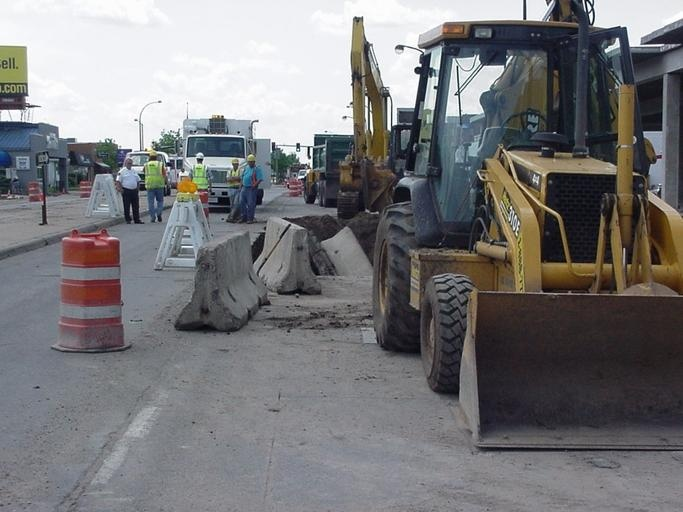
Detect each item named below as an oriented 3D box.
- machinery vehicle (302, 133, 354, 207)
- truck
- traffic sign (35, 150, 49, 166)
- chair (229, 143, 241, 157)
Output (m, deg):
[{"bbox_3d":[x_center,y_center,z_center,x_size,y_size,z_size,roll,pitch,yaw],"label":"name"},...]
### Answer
[{"bbox_3d":[-0.539,-5.042,36.570,2.593,4.112,7.377,-1,8,-12],"label":"machinery vehicle"},{"bbox_3d":[-6.391,-4.313,32.746,5.035,4.748,7.866,-1,1,-17],"label":"truck"},{"bbox_3d":[-10.346,-3.355,21.696,0.330,0.468,1.167,-2,8,-24],"label":"traffic sign"},{"bbox_3d":[-5.067,-5.099,30.207,0.501,0.635,1.008,0,-3,-10],"label":"chair"}]
